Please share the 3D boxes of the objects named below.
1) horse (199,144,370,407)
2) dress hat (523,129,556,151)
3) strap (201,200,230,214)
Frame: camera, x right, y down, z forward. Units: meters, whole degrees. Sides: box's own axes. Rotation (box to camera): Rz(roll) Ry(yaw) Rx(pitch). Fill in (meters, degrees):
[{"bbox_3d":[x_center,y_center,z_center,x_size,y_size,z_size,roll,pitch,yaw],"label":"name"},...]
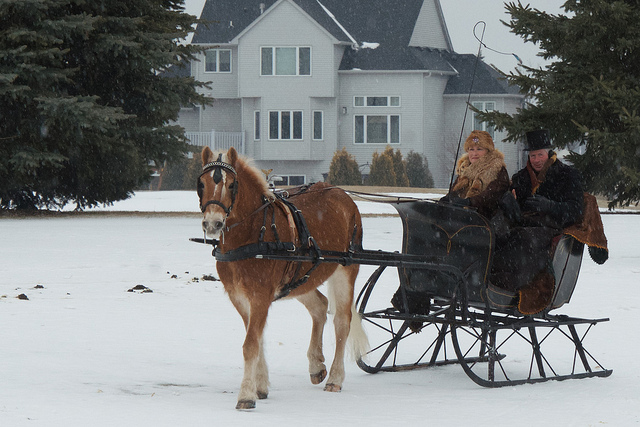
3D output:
[{"bbox_3d":[-0.636,1.174,21.994,1.638,4.323,6.243,0,-2,26],"label":"horse"},{"bbox_3d":[3.937,-1.326,22.302,0.406,0.224,0.402,-6,3,-22],"label":"dress hat"},{"bbox_3d":[-1.740,-0.115,20.339,0.472,0.227,0.173,1,3,-3],"label":"strap"}]
